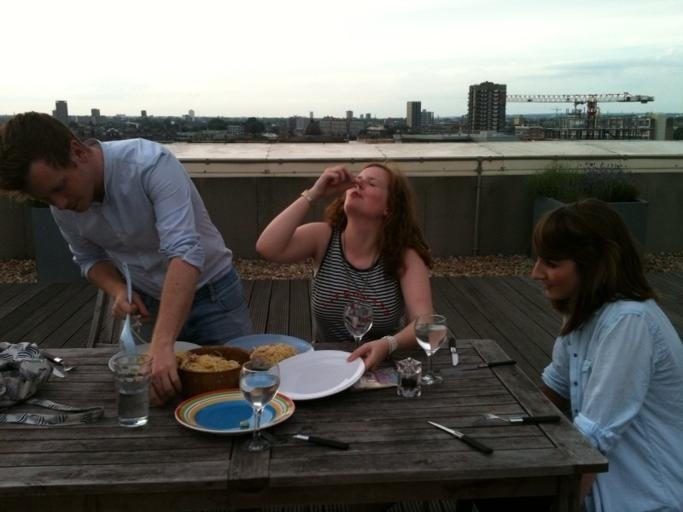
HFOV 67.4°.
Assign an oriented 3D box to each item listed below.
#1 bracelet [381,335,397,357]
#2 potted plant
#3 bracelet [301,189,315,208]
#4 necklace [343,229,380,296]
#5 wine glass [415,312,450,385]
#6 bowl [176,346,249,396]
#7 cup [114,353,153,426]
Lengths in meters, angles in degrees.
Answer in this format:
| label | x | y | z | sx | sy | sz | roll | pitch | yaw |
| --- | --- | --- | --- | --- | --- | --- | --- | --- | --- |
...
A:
| label | x | y | z | sx | sy | sz | roll | pitch | yaw |
| --- | --- | --- | --- | --- | --- | --- | --- | --- | --- |
| bracelet | 0.185 | 0.345 | 2.002 | 0.050 | 0.076 | 0.073 | -6 | 42 | -15 |
| potted plant | 2.991 | -0.801 | 6.289 | 1.613 | 1.424 | 1.611 | -1 | 5 | 7 |
| bracelet | -0.163 | -0.281 | 2.467 | 0.021 | 0.071 | 0.053 | -34 | -17 | 11 |
| necklace | 0.091 | 0.035 | 2.322 | 0.178 | 0.291 | 0.076 | 9 | 0 | 6 |
| wine glass | 0.323 | 0.350 | 1.898 | 0.125 | 0.252 | 0.124 | -1 | 10 | -9 |
| bowl | -0.417 | 0.388 | 1.747 | 0.205 | 0.158 | 0.226 | 2 | 15 | -4 |
| cup | -0.614 | 0.409 | 1.610 | 0.126 | 0.205 | 0.171 | -2 | 16 | -24 |
